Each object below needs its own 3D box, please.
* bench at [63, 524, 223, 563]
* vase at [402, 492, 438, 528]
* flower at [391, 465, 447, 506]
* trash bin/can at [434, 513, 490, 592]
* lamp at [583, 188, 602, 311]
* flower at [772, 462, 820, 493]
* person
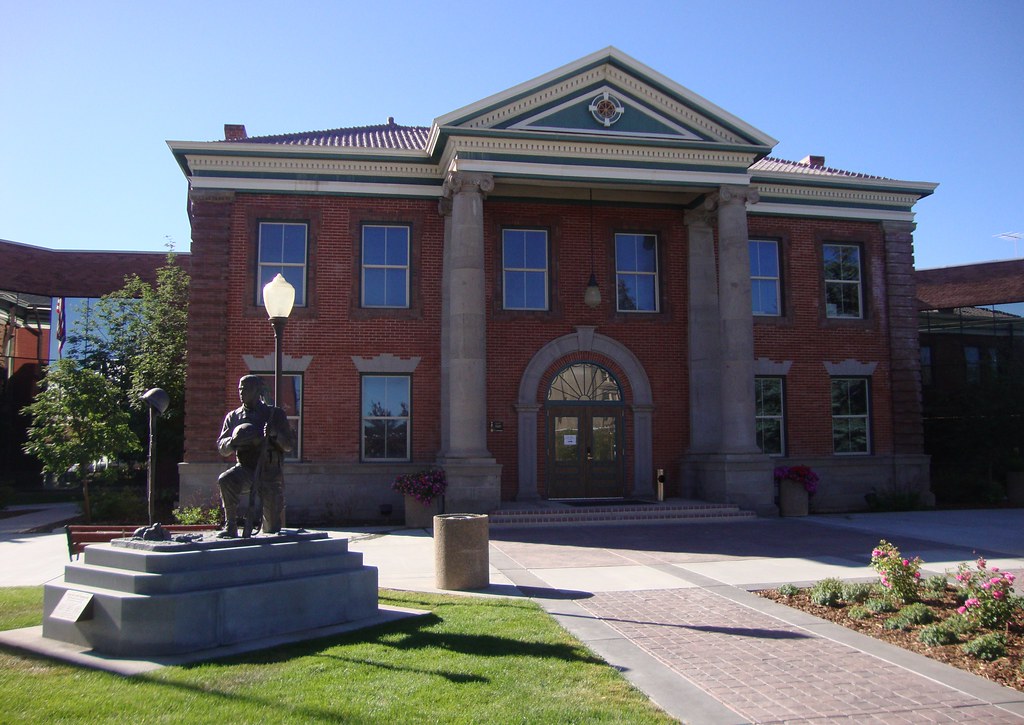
[{"bbox_3d":[-6.906,3.291,18.054,1.994,0.675,2.731,6,-9,-45],"label":"bench"},{"bbox_3d":[-2.228,3.606,24.102,1.011,0.913,0.713,1,-2,-7],"label":"vase"},{"bbox_3d":[-2.169,2.962,23.945,0.877,0.614,0.929,1,-4,29],"label":"flower"},{"bbox_3d":[-0.899,3.253,17.067,1.364,1.456,1.096,0,-11,-7],"label":"trash bin/can"},{"bbox_3d":[2.052,-3.085,25.277,0.571,3.255,0.561,-6,13,-17],"label":"lamp"},{"bbox_3d":[7.686,3.014,26.531,0.981,0.765,0.955,3,-2,19],"label":"flower"},{"bbox_3d":[-3.840,1.370,14.672,0.983,2.362,1.018,2,-7,-16],"label":"person"}]
